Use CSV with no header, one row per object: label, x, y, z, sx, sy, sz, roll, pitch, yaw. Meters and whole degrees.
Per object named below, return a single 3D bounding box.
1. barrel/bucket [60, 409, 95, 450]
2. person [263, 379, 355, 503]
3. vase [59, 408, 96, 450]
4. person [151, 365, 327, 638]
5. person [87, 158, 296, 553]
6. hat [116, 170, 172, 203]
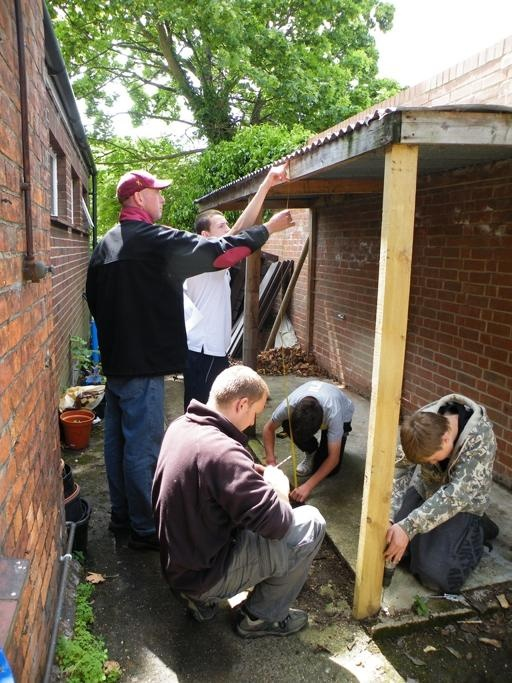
barrel/bucket,-1.529,0.750,4.474,0.306,0.271,0.308,1,4,0
person,0.377,0.612,3.532,0.639,0.821,0.599,11,11,7
vase,-1.548,0.753,4.494,0.306,0.270,0.309,-3,6,-43
person,-0.058,0.731,2.112,0.652,1.243,0.540,-9,14,-34
person,-0.535,-0.015,3.229,1.258,2.349,0.965,1,14,-28
hat,-0.611,-0.872,2.917,0.312,0.155,0.191,-22,26,-11
